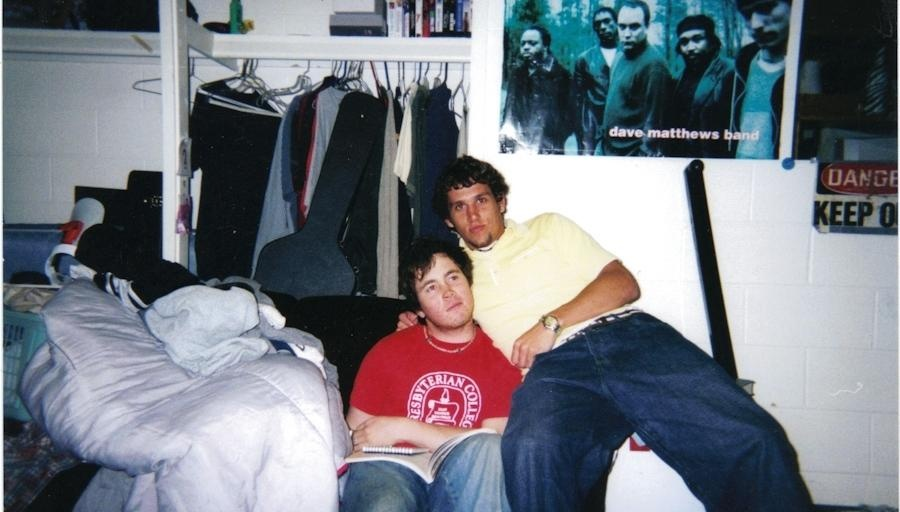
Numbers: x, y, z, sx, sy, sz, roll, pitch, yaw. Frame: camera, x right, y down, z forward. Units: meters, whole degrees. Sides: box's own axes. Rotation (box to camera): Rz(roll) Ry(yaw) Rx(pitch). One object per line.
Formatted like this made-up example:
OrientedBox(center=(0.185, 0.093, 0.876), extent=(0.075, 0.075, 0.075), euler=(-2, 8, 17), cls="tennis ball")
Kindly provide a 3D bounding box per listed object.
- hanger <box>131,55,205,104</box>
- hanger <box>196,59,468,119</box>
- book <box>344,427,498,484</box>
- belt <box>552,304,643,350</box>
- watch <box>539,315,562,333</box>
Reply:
OrientedBox(center=(-1.648, -1.017, 4.122), extent=(0.389, 0.232, 0.029), euler=(8, 11, -1), cls="hanger")
OrientedBox(center=(-0.757, -1.023, 4.278), extent=(1.736, 0.352, 0.452), euler=(3, 7, -1), cls="hanger")
OrientedBox(center=(-0.146, 0.939, 3.381), extent=(0.691, 0.261, 0.111), euler=(4, 7, 2), cls="book")
OrientedBox(center=(0.728, 0.335, 3.620), extent=(0.313, 0.117, 0.241), euler=(-27, -6, -4), cls="belt")
OrientedBox(center=(0.498, 0.336, 3.508), extent=(0.096, 0.060, 0.083), euler=(36, -20, 30), cls="watch")
